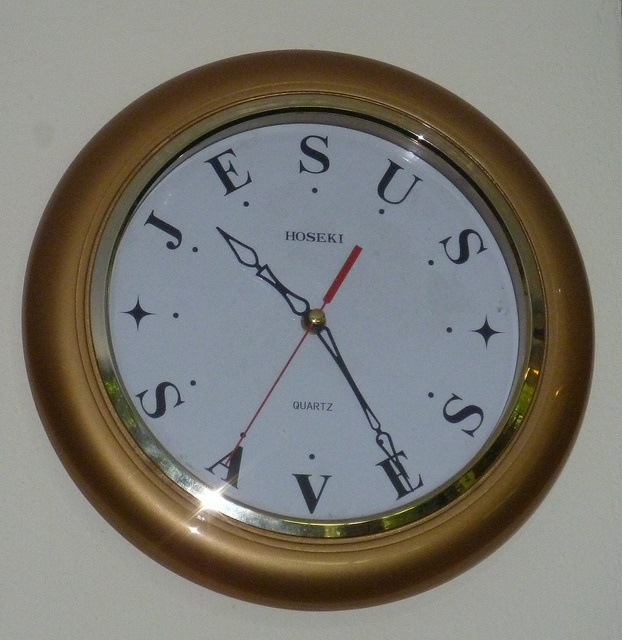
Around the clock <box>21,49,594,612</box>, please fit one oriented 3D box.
[{"bbox_3d":[-0.003,0.018,1.950,0.688,0.714,0.695,4,58,-6],"label":"clock"}]
